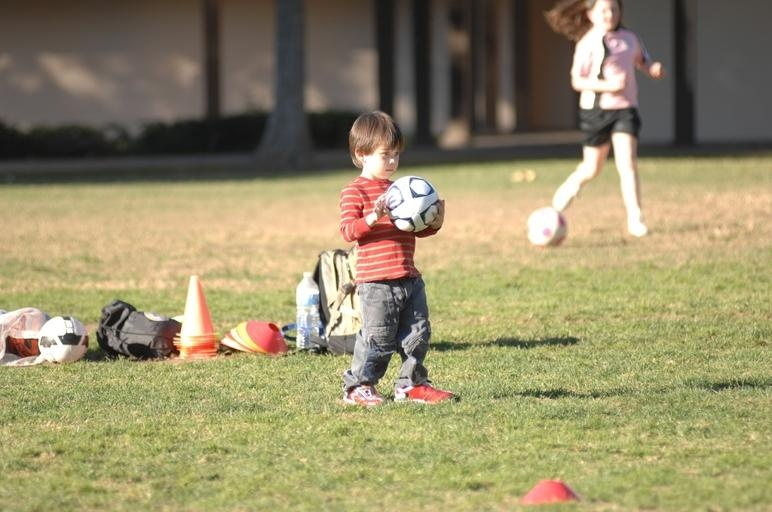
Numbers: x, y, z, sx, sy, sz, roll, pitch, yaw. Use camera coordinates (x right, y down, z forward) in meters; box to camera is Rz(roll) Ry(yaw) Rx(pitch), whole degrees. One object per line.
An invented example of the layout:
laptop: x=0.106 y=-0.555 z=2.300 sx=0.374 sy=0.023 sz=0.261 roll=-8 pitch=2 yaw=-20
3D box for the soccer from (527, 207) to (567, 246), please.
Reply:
soccer: x=1.800 y=-0.362 z=17.572 sx=0.415 sy=0.409 sz=0.419 roll=7 pitch=20 yaw=21

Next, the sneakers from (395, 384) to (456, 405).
sneakers: x=0.385 y=1.360 z=15.483 sx=0.578 sy=0.235 sz=0.231 roll=0 pitch=-2 yaw=6

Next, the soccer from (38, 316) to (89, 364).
soccer: x=-3.346 y=0.880 z=16.437 sx=0.568 sy=0.580 sz=0.576 roll=3 pitch=5 yaw=35

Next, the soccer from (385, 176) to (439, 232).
soccer: x=0.278 y=-0.503 z=15.549 sx=0.525 sy=0.535 sz=0.526 roll=-3 pitch=-2 yaw=3

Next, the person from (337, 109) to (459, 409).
person: x=0.010 y=0.031 z=15.653 sx=1.250 sy=2.733 sz=0.868 roll=1 pitch=1 yaw=38

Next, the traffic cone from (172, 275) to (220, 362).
traffic cone: x=-1.973 y=0.650 z=16.480 sx=0.374 sy=0.920 sz=0.315 roll=0 pitch=1 yaw=-5

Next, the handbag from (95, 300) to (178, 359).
handbag: x=-2.596 y=0.802 z=16.305 sx=0.789 sy=0.469 sz=0.314 roll=8 pitch=7 yaw=9

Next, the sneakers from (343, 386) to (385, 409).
sneakers: x=-0.233 y=1.383 z=15.473 sx=0.348 sy=0.150 sz=0.196 roll=6 pitch=2 yaw=-1
